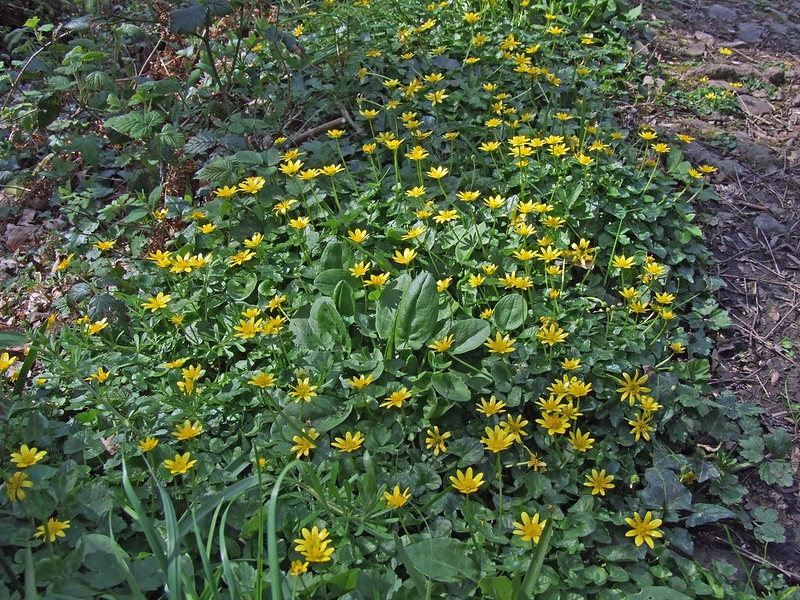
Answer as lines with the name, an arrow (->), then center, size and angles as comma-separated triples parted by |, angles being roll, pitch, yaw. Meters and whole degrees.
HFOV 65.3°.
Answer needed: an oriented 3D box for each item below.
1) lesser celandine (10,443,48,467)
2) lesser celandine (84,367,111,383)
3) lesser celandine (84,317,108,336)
lesser celandine -> -1.630, 0.682, 2.735 | 0.108, 0.109, 0.042 | 25, -46, 20
lesser celandine -> -1.453, 0.361, 2.992 | 0.071, 0.071, 0.037 | -17, -69, 23
lesser celandine -> -1.508, 0.122, 3.109 | 0.081, 0.081, 0.030 | -21, -62, 3
